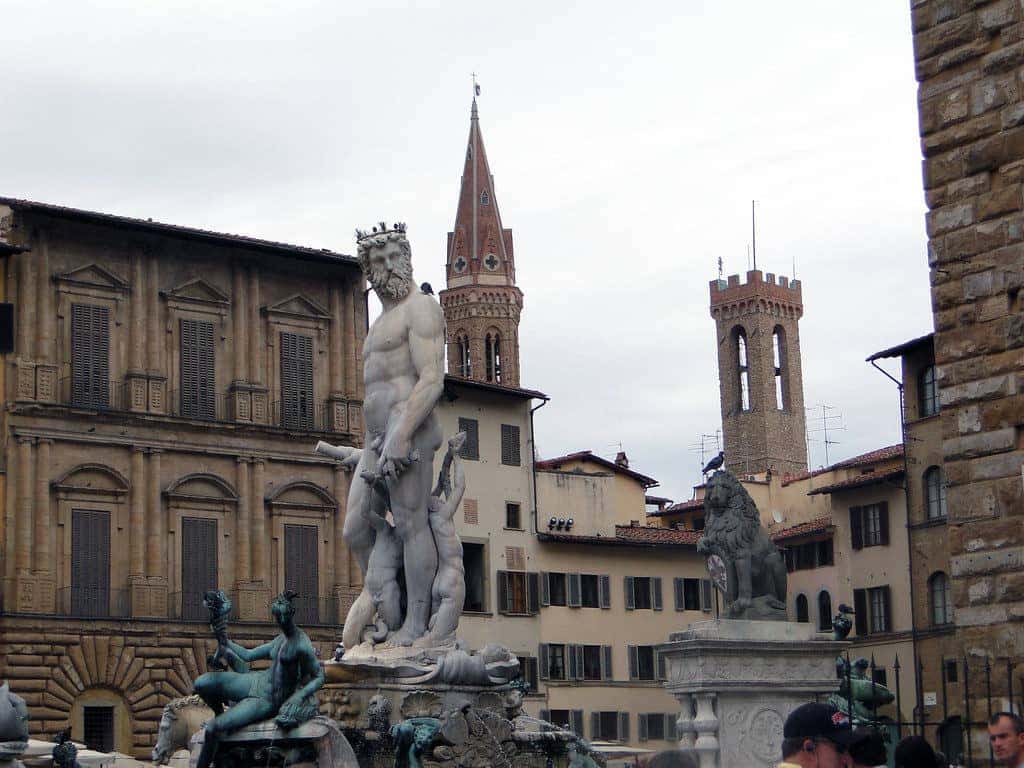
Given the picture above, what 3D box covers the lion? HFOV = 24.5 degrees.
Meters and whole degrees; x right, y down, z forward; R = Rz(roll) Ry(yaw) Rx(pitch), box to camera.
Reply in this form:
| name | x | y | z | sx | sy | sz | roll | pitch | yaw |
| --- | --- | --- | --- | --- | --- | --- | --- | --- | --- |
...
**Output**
| name | x | y | z | sx | sy | sz | roll | pitch | yaw |
| --- | --- | --- | --- | --- | --- | --- | --- | --- | --- |
| lion | 3.522 | 2.458 | 36.847 | 1.286 | 2.644 | 1.765 | -3 | -13 | 3 |
